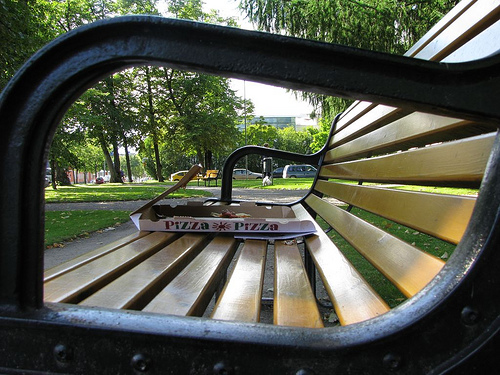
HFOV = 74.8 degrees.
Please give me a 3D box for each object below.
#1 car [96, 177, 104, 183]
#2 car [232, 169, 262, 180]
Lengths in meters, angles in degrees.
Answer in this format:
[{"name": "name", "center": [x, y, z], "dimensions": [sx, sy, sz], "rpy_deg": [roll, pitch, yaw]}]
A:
[{"name": "car", "center": [-22.260, -1.045, 48.520], "dimensions": [1.020, 0.785, 2.244], "rpy_deg": [-1, 18, -20]}, {"name": "car", "center": [-0.394, -1.326, 34.841], "dimensions": [3.015, 1.056, 1.412], "rpy_deg": [-2, 4, -12]}]
